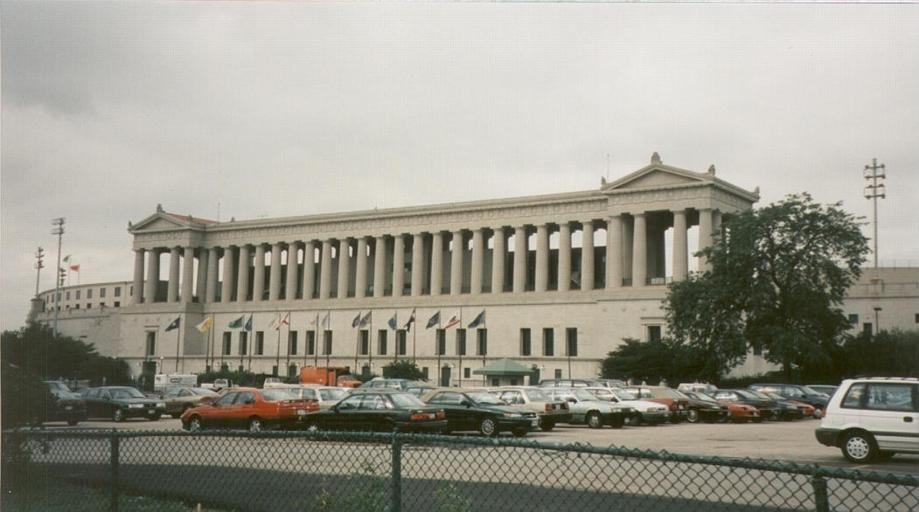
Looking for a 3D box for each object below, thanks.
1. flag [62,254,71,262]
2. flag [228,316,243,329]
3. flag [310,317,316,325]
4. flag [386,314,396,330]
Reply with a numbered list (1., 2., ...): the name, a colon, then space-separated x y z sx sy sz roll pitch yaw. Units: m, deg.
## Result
1. flag: -11.027 0.129 39.403 0.232 0.019 0.229 11 -55 -11
2. flag: -23.897 7.273 148.570 1.595 1.149 1.983 5 0 8
3. flag: -15.942 7.180 154.821 0.528 0.856 1.549 4 -10 -19
4. flag: -7.144 7.105 147.691 1.726 1.766 0.150 5 11 26
